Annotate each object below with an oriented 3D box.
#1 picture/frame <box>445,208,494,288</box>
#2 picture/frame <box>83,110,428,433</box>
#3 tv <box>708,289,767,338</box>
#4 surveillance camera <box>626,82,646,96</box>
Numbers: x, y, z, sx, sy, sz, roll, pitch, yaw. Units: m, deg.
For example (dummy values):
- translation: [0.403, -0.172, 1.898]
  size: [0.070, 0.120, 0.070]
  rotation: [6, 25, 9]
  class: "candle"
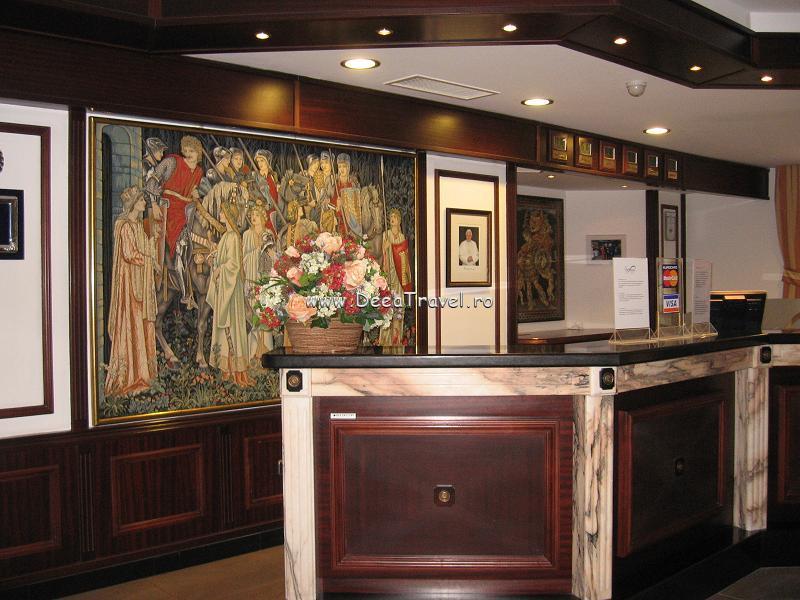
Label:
- translation: [0.624, -0.495, 6.668]
  size: [0.756, 0.957, 0.067]
  rotation: [-1, 0, -40]
  class: "picture/frame"
- translation: [-1.186, -0.270, 5.172]
  size: [2.505, 2.135, 0.035]
  rotation: [0, -4, 24]
  class: "picture/frame"
- translation: [2.493, 0.085, 5.170]
  size: [0.450, 0.295, 0.218]
  rotation: [-3, 3, -7]
  class: "tv"
- translation: [1.909, -1.719, 5.751]
  size: [0.106, 0.077, 0.107]
  rotation: [-1, 1, 1]
  class: "surveillance camera"
